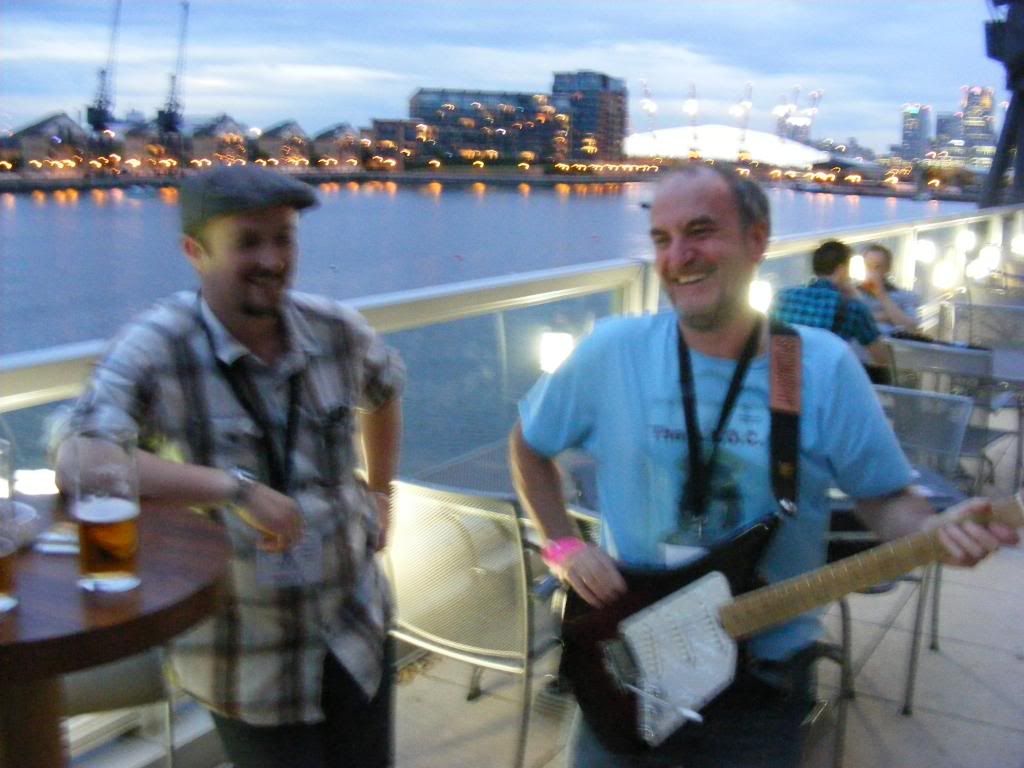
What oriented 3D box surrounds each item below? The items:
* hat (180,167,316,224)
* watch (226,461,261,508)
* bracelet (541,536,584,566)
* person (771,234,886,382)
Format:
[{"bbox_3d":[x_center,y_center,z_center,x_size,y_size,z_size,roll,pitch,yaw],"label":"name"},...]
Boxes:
[{"bbox_3d":[-0.551,-0.402,1.744,0.199,0.062,0.138,-13,19,-1],"label":"hat"},{"bbox_3d":[-0.541,0.203,1.703,0.047,0.074,0.030,6,-14,-3],"label":"watch"},{"bbox_3d":[0.107,0.358,1.838,0.055,0.031,0.075,-10,1,26],"label":"bracelet"},{"bbox_3d":[1.495,-0.343,4.071,0.726,0.195,0.300,-26,4,-19],"label":"person"}]
